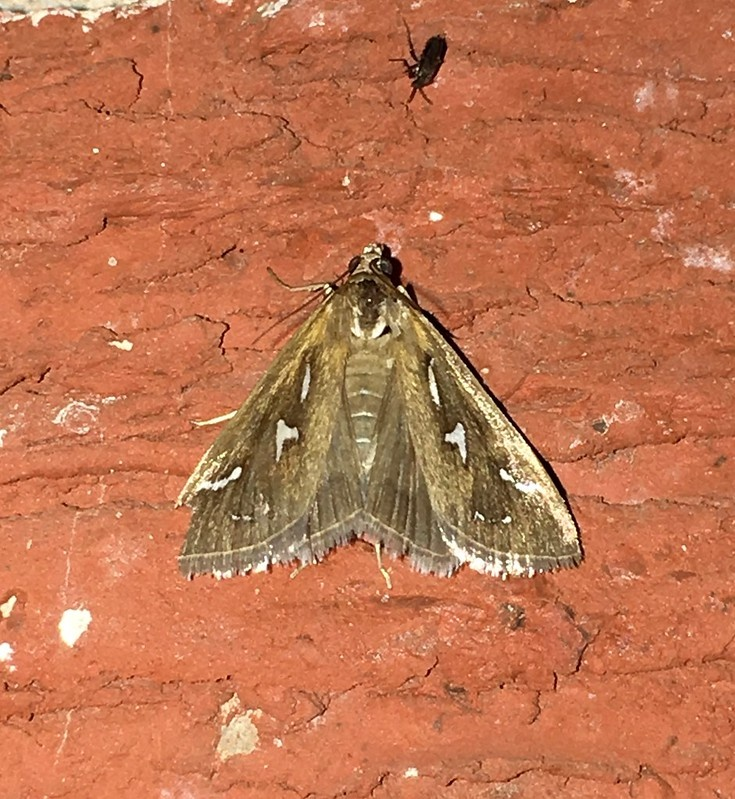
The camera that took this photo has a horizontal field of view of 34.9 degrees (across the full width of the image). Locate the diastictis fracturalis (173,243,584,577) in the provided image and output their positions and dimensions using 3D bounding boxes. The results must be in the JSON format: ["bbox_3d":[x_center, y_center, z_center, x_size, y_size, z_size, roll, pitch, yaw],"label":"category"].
[{"bbox_3d":[0.118,0.131,6.718,2.396,0.589,1.680,-2,80,6],"label":"diastictis fracturalis"}]
